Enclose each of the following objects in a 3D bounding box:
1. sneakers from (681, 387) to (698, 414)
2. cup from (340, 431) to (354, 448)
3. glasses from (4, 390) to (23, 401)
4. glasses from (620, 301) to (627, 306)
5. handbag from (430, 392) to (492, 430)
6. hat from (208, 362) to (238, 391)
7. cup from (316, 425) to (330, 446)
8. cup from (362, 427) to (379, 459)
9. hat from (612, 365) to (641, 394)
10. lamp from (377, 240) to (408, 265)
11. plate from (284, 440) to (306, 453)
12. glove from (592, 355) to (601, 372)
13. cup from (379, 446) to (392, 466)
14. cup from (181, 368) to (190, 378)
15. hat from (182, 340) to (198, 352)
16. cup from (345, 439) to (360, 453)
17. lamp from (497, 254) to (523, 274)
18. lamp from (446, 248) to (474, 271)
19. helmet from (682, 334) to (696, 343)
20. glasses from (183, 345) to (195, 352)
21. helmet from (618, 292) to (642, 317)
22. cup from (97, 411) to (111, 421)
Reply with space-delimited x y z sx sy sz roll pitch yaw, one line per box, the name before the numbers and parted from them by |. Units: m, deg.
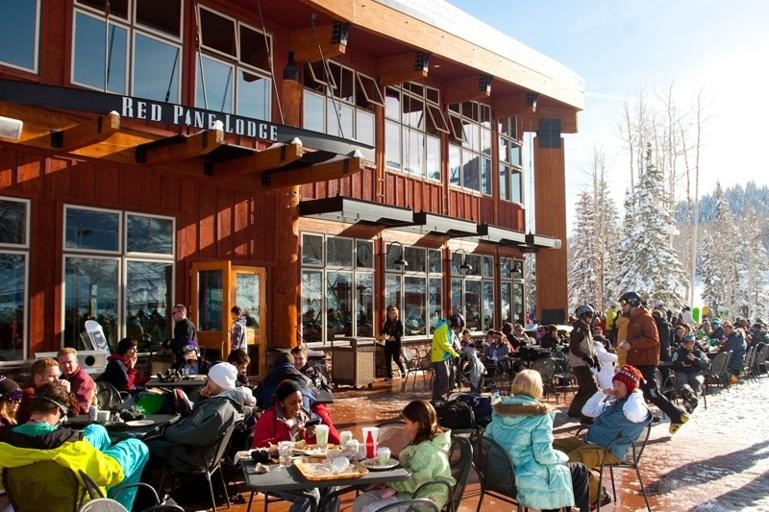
sneakers | 6.430 2.995 13.674 0.228 0.721 0.295 -11 11 15
cup | -0.447 2.147 7.566 0.166 0.175 0.140 4 -9 -9
glasses | -5.102 1.925 8.940 0.198 0.122 0.155 -3 -4 16
glasses | 4.870 0.973 13.253 0.083 0.066 0.088 -2 -2 10
handbag | 1.076 2.162 8.971 0.588 0.291 0.832 1 -4 -4
hat | -2.131 1.555 8.513 0.371 0.348 0.285 2 5 29
cup | -0.740 2.097 7.630 0.186 0.262 0.210 1 -7 -12
cup | -0.148 2.129 7.413 0.253 0.419 0.266 1 -1 0
hat | 3.359 1.681 9.038 0.380 0.389 0.303 -8 6 -34
lamp | 0.271 -0.058 20.294 0.972 0.783 0.582 0 -4 8
plate | -1.003 2.212 7.522 0.170 0.077 0.145 0 -5 -24
glove | 4.237 2.137 12.990 0.075 0.191 0.252 -1 36 10
cup | -0.010 2.255 7.271 0.143 0.151 0.148 -2 -8 0
cup | -3.664 2.153 12.001 0.118 0.153 0.148 -3 -8 8
hat | -3.675 1.717 12.304 0.210 0.221 0.279 3 -26 -1
cup | -0.351 2.184 7.455 0.113 0.128 0.125 2 -5 -29
lamp | 4.971 0.349 25.798 0.621 0.881 1.265 -8 -10 41
lamp | 2.670 0.154 23.182 0.710 0.734 0.727 -7 -10 41
helmet | 7.118 1.934 15.240 0.216 0.188 0.288 3 -7 -12
glasses | -3.675 1.744 12.236 0.204 0.120 0.251 2 -10 -13
helmet | 5.005 0.995 13.229 0.479 0.570 0.434 0 -3 23
cup | -3.632 2.076 8.448 0.158 0.127 0.156 1 -2 0
